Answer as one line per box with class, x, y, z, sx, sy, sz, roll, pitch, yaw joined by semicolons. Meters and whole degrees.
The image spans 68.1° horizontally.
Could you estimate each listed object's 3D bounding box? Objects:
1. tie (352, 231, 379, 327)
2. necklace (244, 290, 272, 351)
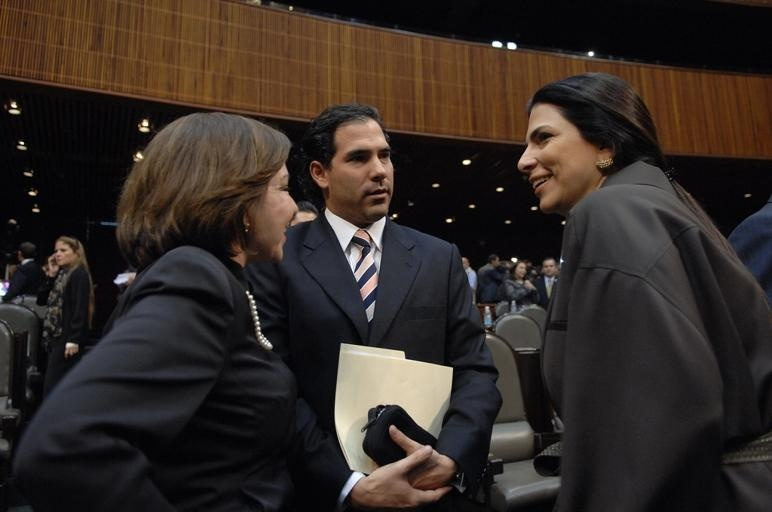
tie;-0.063;0.082;2.182;0.077;0.359;0.057;-2;-29;-4
necklace;-0.419;0.219;1.878;0.060;0.167;0.153;-25;8;-29
